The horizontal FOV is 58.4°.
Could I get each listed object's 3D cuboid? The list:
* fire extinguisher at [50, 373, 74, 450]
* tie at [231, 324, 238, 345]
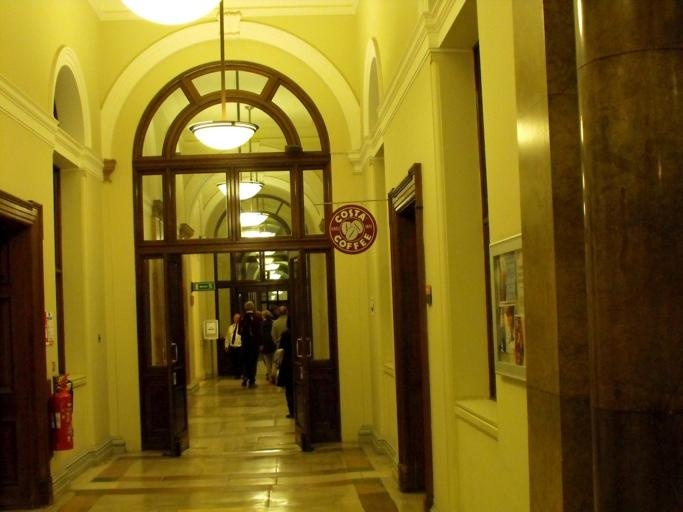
[{"bbox_3d":[-2.966,1.686,6.520,0.294,0.840,0.312,1,-5,-24],"label":"fire extinguisher"},{"bbox_3d":[-2.428,1.808,13.965,0.109,0.359,0.232,-4,1,10],"label":"tie"}]
